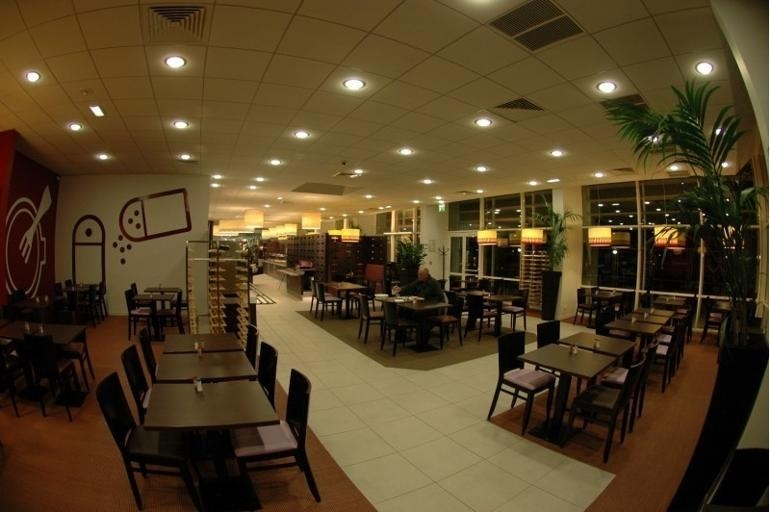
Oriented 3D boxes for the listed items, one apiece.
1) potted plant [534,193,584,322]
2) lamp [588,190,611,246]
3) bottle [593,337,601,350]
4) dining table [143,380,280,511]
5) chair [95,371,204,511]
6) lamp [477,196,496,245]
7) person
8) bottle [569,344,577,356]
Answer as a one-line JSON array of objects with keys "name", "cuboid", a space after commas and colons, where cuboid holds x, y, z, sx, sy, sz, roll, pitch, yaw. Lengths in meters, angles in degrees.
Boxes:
[{"name": "potted plant", "cuboid": [4.329, -0.054, 11.206, 1.013, 3.072, 0.537, -1, -1, -34]}, {"name": "lamp", "cuboid": [4.934, -0.802, 10.547, 0.462, 1.071, 1.408, -1, -1, 26]}, {"name": "bottle", "cuboid": [2.791, 1.175, 6.101, 0.109, 0.193, 0.107, 2, -2, 0]}, {"name": "dining table", "cuboid": [-1.821, 1.894, 4.935, 1.339, 1.234, 1.313, -1, 8, -29]}, {"name": "chair", "cuboid": [-2.415, 1.954, 4.767, 0.801, 1.332, 0.808, -17, 22, -5]}, {"name": "lamp", "cuboid": [2.894, -1.042, 13.031, 0.455, 1.211, 2.051, -1, -1, 12]}, {"name": "person", "cuboid": [0.676, 0.991, 9.249, 1.077, 1.475, 0.770, 3, -8, 19]}, {"name": "bottle", "cuboid": [2.414, 1.206, 5.881, 0.096, 0.106, 0.099, -3, -4, 33]}]
